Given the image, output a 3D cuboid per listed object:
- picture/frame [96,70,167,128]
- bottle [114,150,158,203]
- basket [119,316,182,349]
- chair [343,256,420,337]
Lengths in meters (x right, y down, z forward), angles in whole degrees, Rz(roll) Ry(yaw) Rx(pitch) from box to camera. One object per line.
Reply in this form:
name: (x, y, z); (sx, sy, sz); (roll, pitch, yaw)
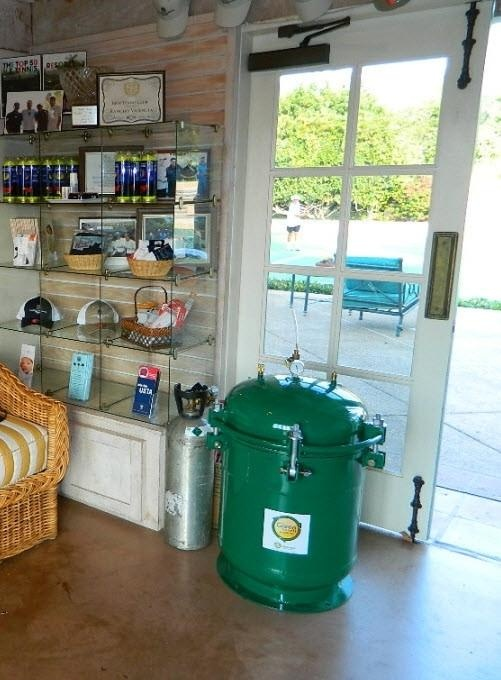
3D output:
picture/frame: (-0.516, -1.064, 2.458); (0.342, 0.252, 0.034); (3, 8, 17)
bottle: (-0.499, -0.727, 2.470); (0.237, 0.215, 0.075); (9, 17, 29)
basket: (-0.485, -0.038, 2.561); (0.140, 0.070, 0.211); (-7, 11, -42)
chair: (0.564, -0.208, 2.482); (0.312, 0.370, 0.351); (8, 17, 28)
